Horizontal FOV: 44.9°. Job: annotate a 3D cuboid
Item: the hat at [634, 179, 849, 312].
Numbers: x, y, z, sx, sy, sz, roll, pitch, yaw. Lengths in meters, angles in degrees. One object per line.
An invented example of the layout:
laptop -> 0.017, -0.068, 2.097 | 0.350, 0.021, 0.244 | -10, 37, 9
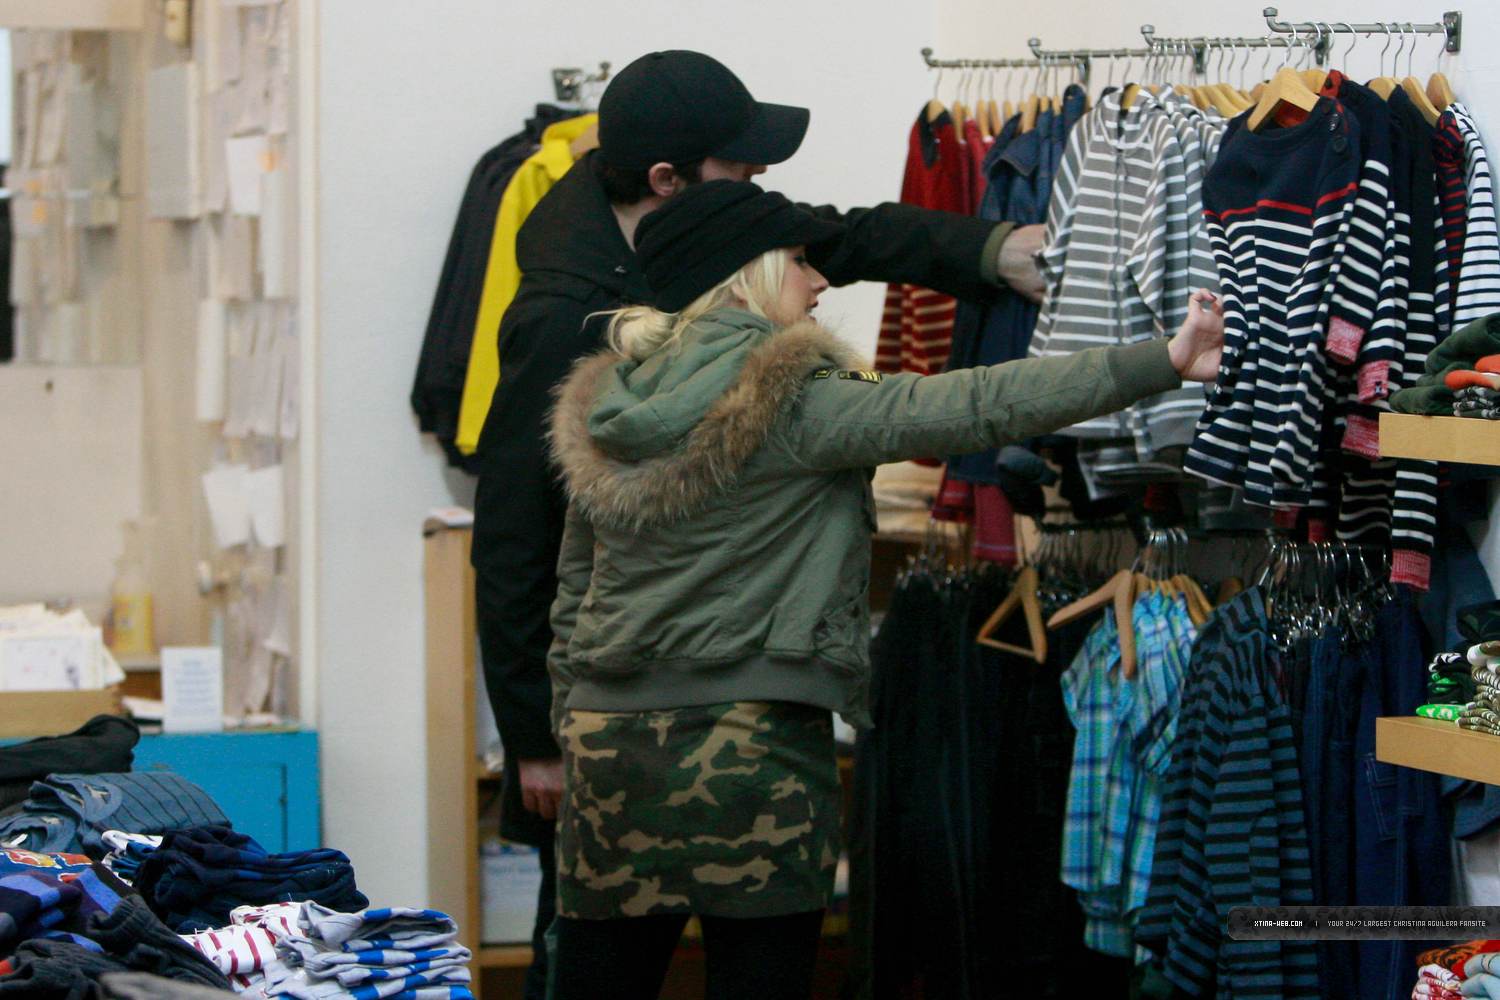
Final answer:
hat -> -0.045, -0.542, 4.006 | 0.374, 0.199, 0.281 | -28, 6, -3

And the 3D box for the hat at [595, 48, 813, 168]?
hat -> -0.121, -0.863, 4.067 | 0.373, 0.216, 0.260 | -13, 24, 8
